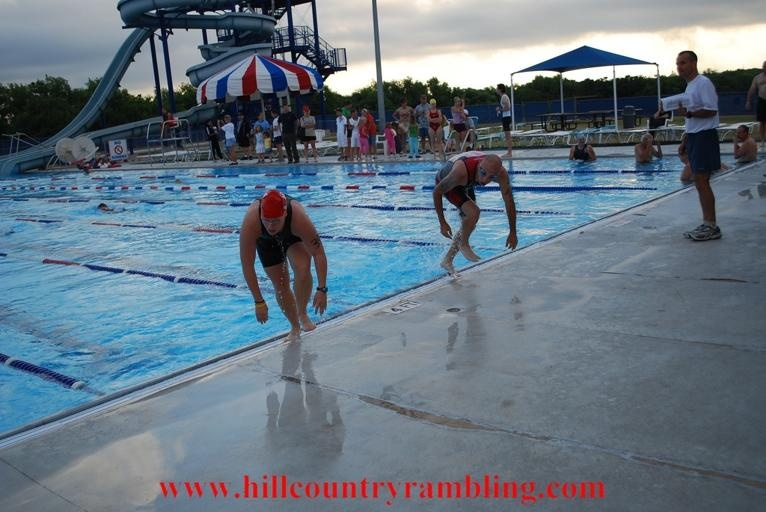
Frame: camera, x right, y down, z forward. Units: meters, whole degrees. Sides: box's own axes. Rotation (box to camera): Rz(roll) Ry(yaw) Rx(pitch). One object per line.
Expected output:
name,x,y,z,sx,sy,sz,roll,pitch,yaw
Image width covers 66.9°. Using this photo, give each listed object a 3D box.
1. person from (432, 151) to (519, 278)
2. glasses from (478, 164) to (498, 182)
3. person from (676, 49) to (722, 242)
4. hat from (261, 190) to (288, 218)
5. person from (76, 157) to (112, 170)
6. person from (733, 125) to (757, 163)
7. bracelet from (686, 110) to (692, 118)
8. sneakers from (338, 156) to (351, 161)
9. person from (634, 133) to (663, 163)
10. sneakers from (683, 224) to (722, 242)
person,0.973,-0.471,6.266,0.852,1.275,0.972,-6,12,-5
glasses,1.075,-0.851,5.934,0.150,0.100,0.183,8,39,-10
person,3.469,-1.204,6.323,0.476,2.000,1.196,1,14,26
hat,-0.803,-0.376,4.363,0.166,0.190,0.219,-1,9,-5
person,-13.084,-4.187,26.310,1.359,0.523,2.763,-10,13,-23
person,7.350,-2.279,11.691,0.380,0.740,1.543,2,14,30
bracelet,3.319,-1.525,6.241,0.048,0.071,0.066,6,39,16
sneakers,-1.283,-3.302,19.663,0.197,0.228,0.559,-5,15,-18
person,6.437,-2.581,13.887,0.436,0.688,1.167,4,15,35
sneakers,3.478,-0.252,6.281,0.406,0.162,0.163,-2,20,5
